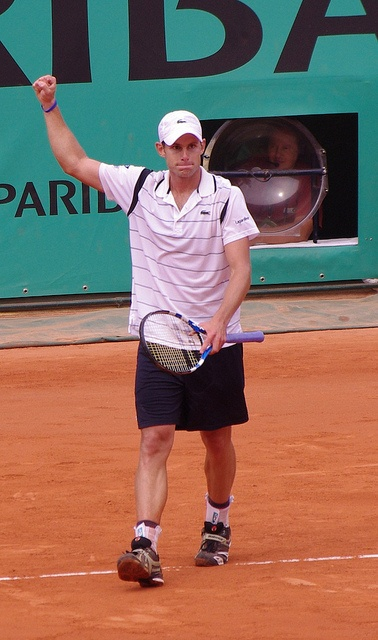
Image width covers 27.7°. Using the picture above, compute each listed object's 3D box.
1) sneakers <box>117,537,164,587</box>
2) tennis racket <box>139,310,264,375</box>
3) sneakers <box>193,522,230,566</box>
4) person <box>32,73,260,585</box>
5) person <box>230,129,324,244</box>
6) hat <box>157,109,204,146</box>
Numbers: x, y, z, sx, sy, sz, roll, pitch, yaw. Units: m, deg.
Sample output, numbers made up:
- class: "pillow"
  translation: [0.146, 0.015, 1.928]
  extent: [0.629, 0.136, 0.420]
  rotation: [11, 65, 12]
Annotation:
- class: "sneakers"
  translation: [-0.160, 0.845, 2.699]
  extent: [0.099, 0.234, 0.163]
  rotation: [-11, 47, 13]
- class: "tennis racket"
  translation: [0.038, 0.078, 2.870]
  extent: [0.451, 0.243, 0.297]
  rotation: [-3, -1, -8]
- class: "sneakers"
  translation: [0.101, 0.944, 3.177]
  extent: [0.084, 0.102, 0.236]
  rotation: [1, 0, 4]
- class: "person"
  translation: [-0.101, 0.009, 3.023]
  extent: [0.693, 1.982, 0.697]
  rotation: [-3, 0, -20]
- class: "person"
  translation: [1.066, -1.573, 9.271]
  extent: [1.205, 1.337, 0.880]
  rotation: [2, 4, 14]
- class: "hat"
  translation: [-0.035, -0.763, 3.020]
  extent: [0.167, 0.157, 0.244]
  rotation: [-3, -1, -2]
